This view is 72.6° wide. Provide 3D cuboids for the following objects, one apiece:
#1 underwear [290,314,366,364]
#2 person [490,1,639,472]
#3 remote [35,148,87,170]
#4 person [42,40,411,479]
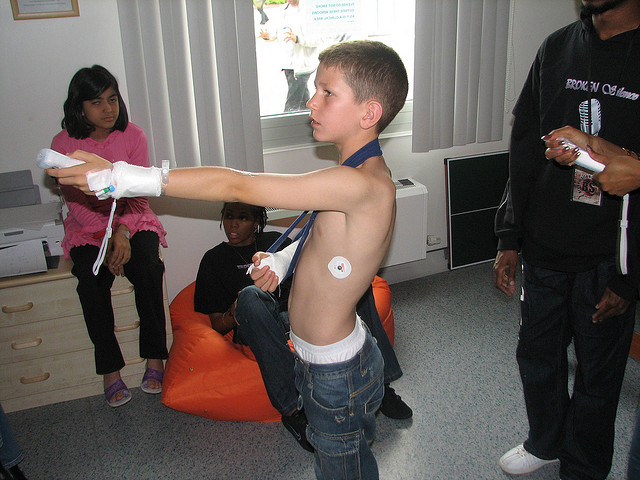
[{"bbox_3d":[0.029,0.329,1.408,0.250,0.080,0.146,-8,19,-5],"label":"underwear"},{"bbox_3d":[0.983,0.104,1.761,0.519,1.915,0.430,7,21,32],"label":"person"},{"bbox_3d":[-0.674,-0.211,1.126,0.115,0.050,0.056,1,-23,-35],"label":"remote"},{"bbox_3d":[-0.093,0.126,1.398,0.850,1.387,0.403,-6,18,-1],"label":"person"}]
